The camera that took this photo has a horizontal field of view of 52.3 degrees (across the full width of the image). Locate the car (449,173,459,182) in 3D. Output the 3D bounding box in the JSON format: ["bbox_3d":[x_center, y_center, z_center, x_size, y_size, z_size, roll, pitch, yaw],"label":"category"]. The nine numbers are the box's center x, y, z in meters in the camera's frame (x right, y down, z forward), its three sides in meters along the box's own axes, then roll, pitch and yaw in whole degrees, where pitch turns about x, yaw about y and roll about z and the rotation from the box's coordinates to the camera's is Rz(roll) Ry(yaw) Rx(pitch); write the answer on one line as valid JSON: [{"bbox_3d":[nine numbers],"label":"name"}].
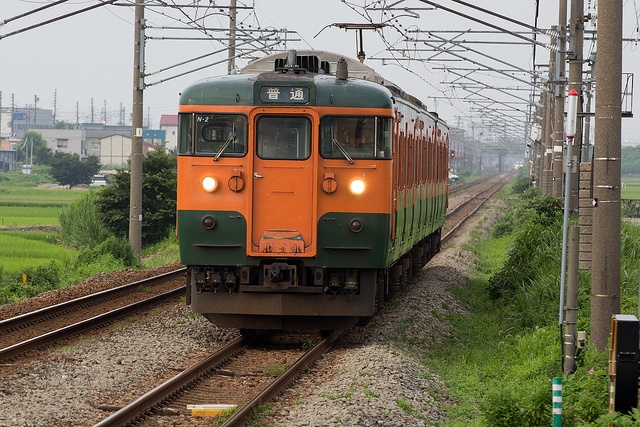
[{"bbox_3d":[16.558,-4.411,80.933,1.272,1.034,2.911,1,6,11],"label":"car"}]
